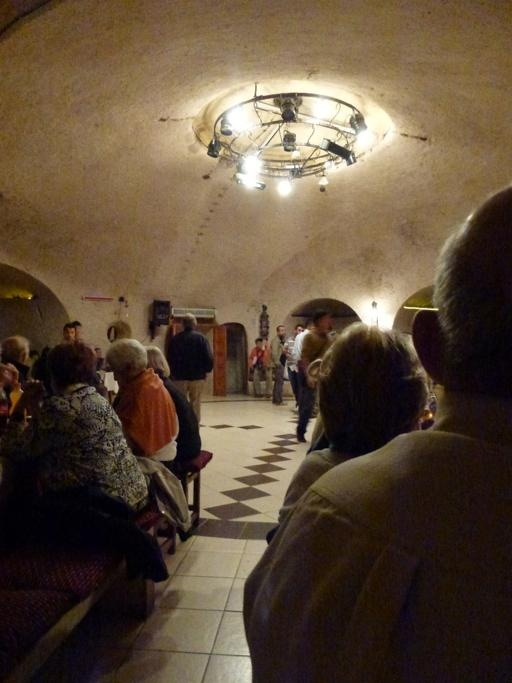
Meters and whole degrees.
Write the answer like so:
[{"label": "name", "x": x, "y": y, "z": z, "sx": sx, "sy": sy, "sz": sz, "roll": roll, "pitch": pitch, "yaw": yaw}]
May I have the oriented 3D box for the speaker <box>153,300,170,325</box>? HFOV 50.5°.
[{"label": "speaker", "x": -2.195, "y": -0.697, "z": 12.468, "sx": 0.448, "sy": 0.634, "sz": 0.357, "roll": 3, "pitch": 16, "yaw": -8}]
